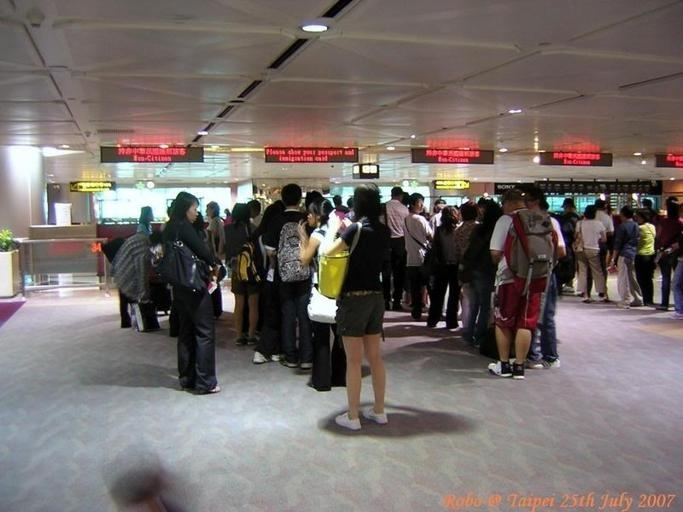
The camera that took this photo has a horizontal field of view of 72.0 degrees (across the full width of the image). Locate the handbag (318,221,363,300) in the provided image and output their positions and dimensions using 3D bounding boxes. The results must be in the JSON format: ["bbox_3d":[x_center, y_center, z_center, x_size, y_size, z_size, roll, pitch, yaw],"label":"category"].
[{"bbox_3d":[-0.031,-0.012,4.402,0.405,0.691,0.510,6,15,-2],"label":"handbag"}]

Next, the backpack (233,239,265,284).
[{"bbox_3d":[-1.414,0.058,7.029,0.386,0.633,0.500,-2,0,-14],"label":"backpack"}]

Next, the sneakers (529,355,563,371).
[{"bbox_3d":[2.612,1.373,6.043,0.388,0.150,0.158,4,-3,5],"label":"sneakers"}]

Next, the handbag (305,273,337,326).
[{"bbox_3d":[-0.300,0.458,5.065,0.327,0.572,0.438,0,6,-17],"label":"handbag"}]

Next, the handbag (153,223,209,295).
[{"bbox_3d":[-1.749,0.049,5.154,0.555,0.705,0.318,-2,5,-17],"label":"handbag"}]

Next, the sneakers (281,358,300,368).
[{"bbox_3d":[-0.693,1.414,6.242,0.099,0.097,0.229,-1,6,-44],"label":"sneakers"}]

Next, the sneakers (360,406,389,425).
[{"bbox_3d":[0.314,1.532,4.553,0.100,0.107,0.267,-1,4,-32],"label":"sneakers"}]

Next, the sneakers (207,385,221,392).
[{"bbox_3d":[-1.445,1.512,5.340,0.137,0.053,0.049,-8,10,-11],"label":"sneakers"}]

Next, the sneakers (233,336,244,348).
[{"bbox_3d":[-1.583,1.320,7.331,0.155,0.123,0.222,-2,5,-11],"label":"sneakers"}]

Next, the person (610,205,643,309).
[{"bbox_3d":[6.214,-0.008,10.191,0.586,2.140,0.907,2,6,30],"label":"person"}]

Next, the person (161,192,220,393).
[{"bbox_3d":[-1.701,0.405,5.430,0.833,2.225,0.742,-2,-5,-35],"label":"person"}]

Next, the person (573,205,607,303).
[{"bbox_3d":[5.706,-0.063,10.762,0.697,2.171,0.756,2,6,26],"label":"person"}]

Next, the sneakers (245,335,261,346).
[{"bbox_3d":[-1.408,1.333,7.509,0.146,0.153,0.382,2,2,5],"label":"sneakers"}]

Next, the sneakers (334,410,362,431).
[{"bbox_3d":[0.053,1.542,4.416,0.119,0.098,0.252,-1,4,-37],"label":"sneakers"}]

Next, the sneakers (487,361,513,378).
[{"bbox_3d":[1.936,1.386,5.757,0.118,0.129,0.313,-1,7,-14],"label":"sneakers"}]
